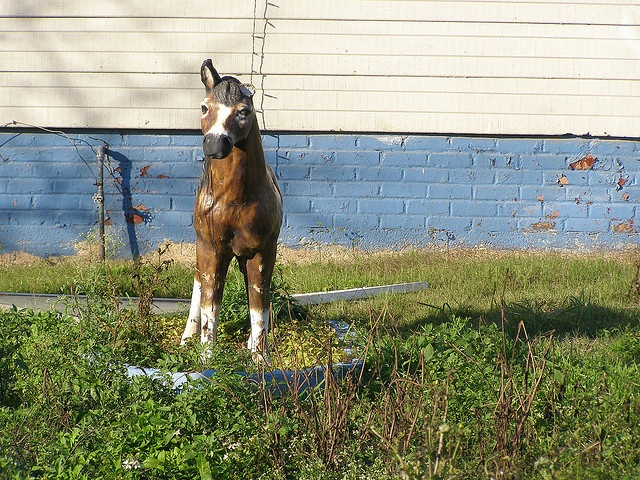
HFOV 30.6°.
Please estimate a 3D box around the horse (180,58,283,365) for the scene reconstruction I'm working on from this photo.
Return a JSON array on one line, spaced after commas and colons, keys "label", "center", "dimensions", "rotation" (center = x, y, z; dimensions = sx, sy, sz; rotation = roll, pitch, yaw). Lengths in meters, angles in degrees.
[{"label": "horse", "center": [-0.853, -0.304, 11.466], "dimensions": [0.955, 2.943, 0.603], "rotation": [-2, 6, -4]}]
